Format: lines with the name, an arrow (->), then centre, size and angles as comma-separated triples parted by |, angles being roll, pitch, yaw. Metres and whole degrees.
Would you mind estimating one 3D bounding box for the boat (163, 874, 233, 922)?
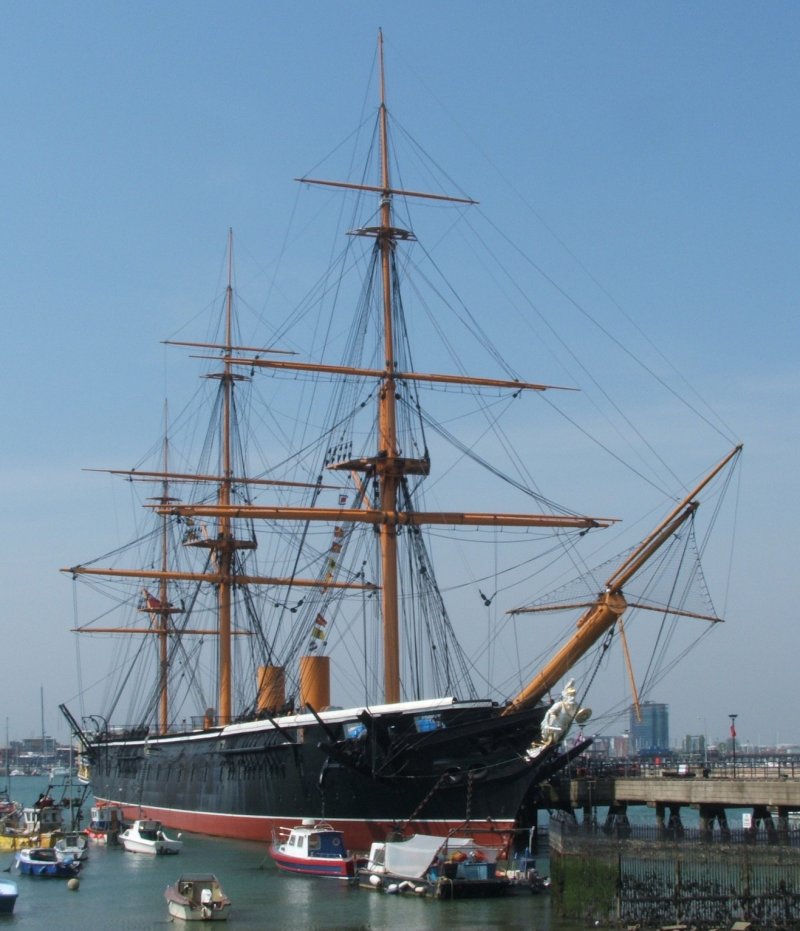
boat -> -6.333, 13.431, 70.419 | 1.181, 1.251, 2.272 | 6, -6, -41
